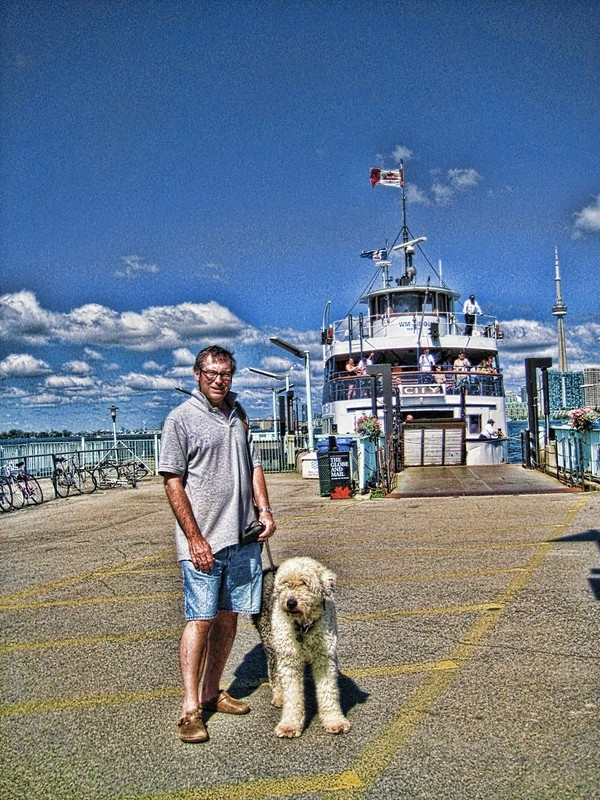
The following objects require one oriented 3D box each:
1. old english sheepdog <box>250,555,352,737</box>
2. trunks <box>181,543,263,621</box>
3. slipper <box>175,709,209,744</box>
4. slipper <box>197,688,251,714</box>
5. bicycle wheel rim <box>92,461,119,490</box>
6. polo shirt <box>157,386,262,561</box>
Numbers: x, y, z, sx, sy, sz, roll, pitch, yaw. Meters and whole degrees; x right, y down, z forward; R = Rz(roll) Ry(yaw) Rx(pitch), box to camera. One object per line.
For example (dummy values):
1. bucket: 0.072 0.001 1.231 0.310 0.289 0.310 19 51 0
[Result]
1. old english sheepdog: 0.007 1.330 3.641 0.466 0.821 0.597 -2 1 -5
2. trunks: -0.442 0.999 3.738 0.482 0.463 0.262 4 -10 -32
3. slipper: -0.555 1.705 3.438 0.097 0.085 0.198 1 -11 -18
4. slipper: -0.428 1.746 3.842 0.309 0.120 0.114 -1 -7 9
5. bicycle wheel rim: -6.112 2.400 20.771 0.809 0.747 0.143 0 10 -43
6. polo shirt: -0.493 0.396 3.768 0.658 0.858 0.367 -2 1 -27
